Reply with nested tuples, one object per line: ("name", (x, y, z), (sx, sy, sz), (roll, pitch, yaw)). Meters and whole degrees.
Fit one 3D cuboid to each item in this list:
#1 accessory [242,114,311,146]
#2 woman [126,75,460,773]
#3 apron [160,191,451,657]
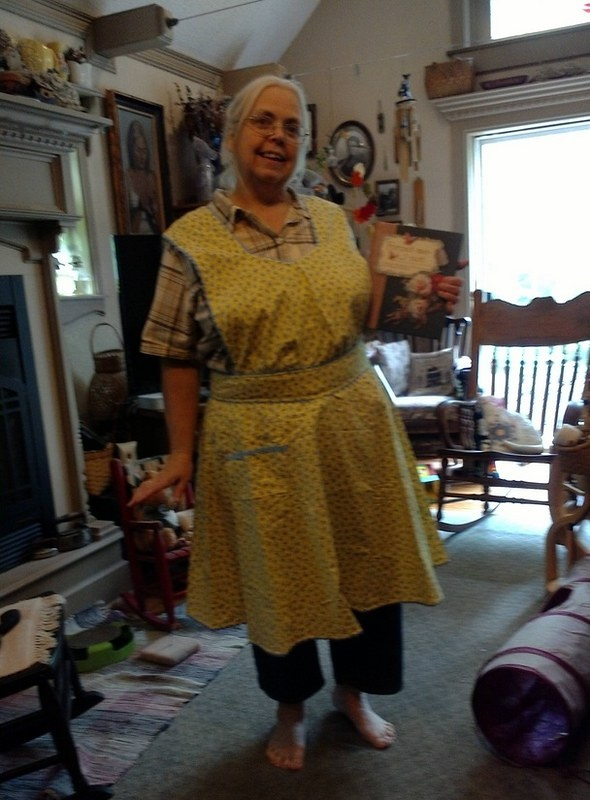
("accessory", (-0.023, -0.437, 1.022), (0.122, 0.035, 0.050), (-7, 3, -43))
("woman", (0.009, 0.080, 1.148), (0.623, 1.122, 0.387), (-6, 8, -12))
("apron", (0.020, 0.034, 1.138), (0.478, 0.735, 0.327), (-9, 14, -16))
